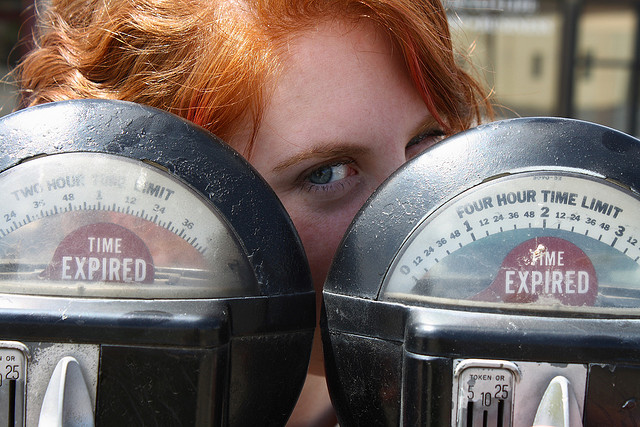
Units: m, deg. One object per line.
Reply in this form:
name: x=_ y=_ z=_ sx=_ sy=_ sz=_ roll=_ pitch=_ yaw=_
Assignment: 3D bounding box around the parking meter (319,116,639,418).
parking meter: x=0.398 y=0.146 z=1.813 sx=0.697 sy=0.936 sz=0.454 roll=-1 pitch=5 yaw=-1
